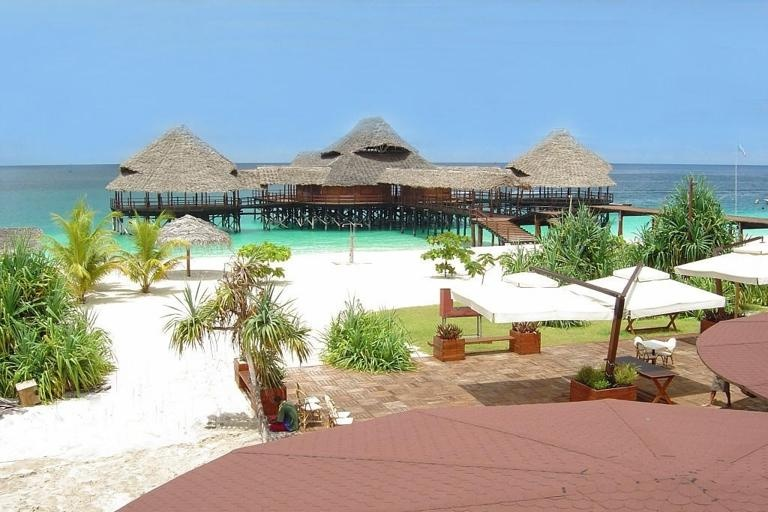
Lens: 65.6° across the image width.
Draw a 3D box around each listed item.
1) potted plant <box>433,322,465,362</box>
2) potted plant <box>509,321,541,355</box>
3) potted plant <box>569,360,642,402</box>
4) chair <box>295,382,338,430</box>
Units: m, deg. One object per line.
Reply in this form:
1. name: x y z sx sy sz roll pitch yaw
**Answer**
1. potted plant: 1.281 1.816 12.657 0.757 0.874 0.717 0 1 -18
2. potted plant: 3.059 1.775 12.968 0.653 0.629 0.490 -1 5 11
3. potted plant: 3.571 2.047 9.541 1.024 0.598 0.828 -3 5 -11
4. chair: -1.113 2.519 9.999 0.661 0.779 0.630 -2 8 -14
